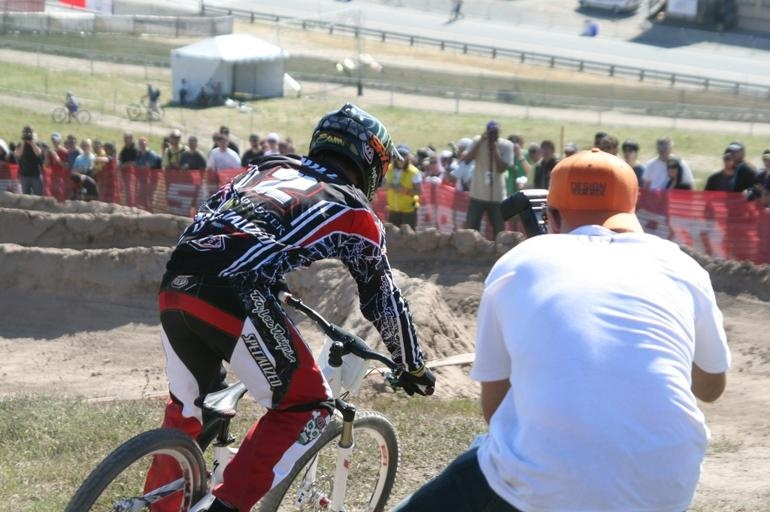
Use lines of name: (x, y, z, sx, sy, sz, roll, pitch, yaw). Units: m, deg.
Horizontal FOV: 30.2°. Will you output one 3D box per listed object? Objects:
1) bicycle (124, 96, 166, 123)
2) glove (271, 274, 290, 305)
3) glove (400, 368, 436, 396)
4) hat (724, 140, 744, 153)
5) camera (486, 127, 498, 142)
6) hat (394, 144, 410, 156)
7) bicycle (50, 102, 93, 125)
bicycle: (-8.823, -5.269, 52.101, 1.394, 0.776, 0.643, 9, 8, -14)
glove: (-2.311, 0.739, 31.128, 0.426, 0.526, 0.514, -2, 29, -3)
glove: (0.668, 2.750, 31.252, 0.858, 0.508, 0.421, -20, 21, 25)
hat: (9.320, -2.971, 38.190, 0.318, 0.382, 0.360, 13, -17, -3)
camera: (2.811, -3.241, 37.985, 0.280, 0.305, 0.355, 7, 18, 6)
hat: (0.455, -2.899, 38.929, 0.508, 0.193, 0.710, 3, 4, 3)
bicycle: (-11.088, -5.025, 50.324, 1.280, 0.711, 0.621, 10, 8, -17)
